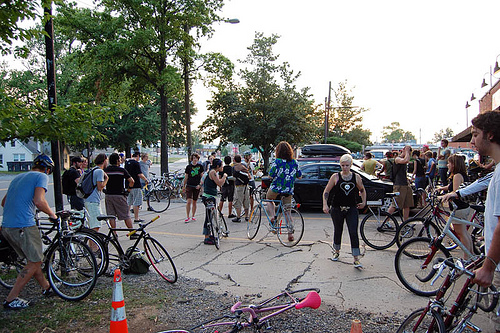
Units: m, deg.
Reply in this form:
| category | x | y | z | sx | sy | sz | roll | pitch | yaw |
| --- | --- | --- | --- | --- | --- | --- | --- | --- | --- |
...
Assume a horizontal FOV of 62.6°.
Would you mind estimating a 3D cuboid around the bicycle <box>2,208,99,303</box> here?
| category | x | y | z | sx | sy | sz | roll | pitch | yaw |
| --- | --- | --- | --- | --- | --- | --- | --- | --- | --- |
| bicycle | -4.160 | 1.796 | 7.868 | 2.499 | 1.561 | 1.237 | 0 | -2 | 23 |

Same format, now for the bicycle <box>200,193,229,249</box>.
| category | x | y | z | sx | sy | sz | roll | pitch | yaw |
| --- | --- | --- | --- | --- | --- | --- | --- | --- | --- |
| bicycle | -0.856 | 1.381 | 10.712 | 0.514 | 1.374 | 1.305 | 0 | 13 | 4 |

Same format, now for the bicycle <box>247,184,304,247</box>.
| category | x | y | z | sx | sy | sz | roll | pitch | yaw |
| --- | --- | --- | --- | --- | --- | --- | --- | --- | --- |
| bicycle | 0.758 | 1.329 | 11.129 | 0.883 | 1.239 | 1.898 | 2 | 3 | -40 |

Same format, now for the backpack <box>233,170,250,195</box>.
| category | x | y | z | sx | sy | sz | roll | pitch | yaw |
| --- | --- | --- | --- | --- | --- | --- | --- | --- | --- |
| backpack | -0.264 | 0.387 | 13.210 | 0.493 | 0.476 | 0.365 | 16 | 4 | -3 |

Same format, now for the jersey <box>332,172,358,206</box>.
| category | x | y | z | sx | sy | sz | roll | pitch | yaw |
| --- | --- | --- | --- | --- | --- | --- | --- | --- | --- |
| jersey | 2.164 | 0.539 | 9.193 | 0.645 | 0.851 | 0.464 | 4 | -12 | 4 |

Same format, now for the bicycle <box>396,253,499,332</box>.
| category | x | y | z | sx | sy | sz | roll | pitch | yaw |
| --- | --- | --- | --- | --- | --- | --- | --- | --- | --- |
| bicycle | 2.815 | 1.851 | 5.784 | 1.465 | 0.895 | 0.890 | 15 | -3 | -28 |

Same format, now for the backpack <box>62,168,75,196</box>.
| category | x | y | z | sx | sy | sz | roll | pitch | yaw |
| --- | --- | --- | --- | --- | --- | --- | --- | --- | --- |
| backpack | -4.790 | 0.403 | 10.839 | 0.332 | 0.707 | 0.386 | -7 | 15 | -23 |

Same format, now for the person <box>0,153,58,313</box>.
| category | x | y | z | sx | sy | sz | roll | pitch | yaw |
| --- | --- | --- | --- | --- | --- | --- | --- | --- | --- |
| person | -4.131 | 1.157 | 7.682 | 1.074 | 2.623 | 1.201 | -8 | 15 | -25 |

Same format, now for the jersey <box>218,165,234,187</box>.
| category | x | y | z | sx | sy | sz | roll | pitch | yaw |
| --- | --- | --- | --- | --- | --- | --- | --- | --- | --- |
| jersey | -0.799 | 0.313 | 13.821 | 0.476 | 0.690 | 0.525 | -2 | 13 | -5 |

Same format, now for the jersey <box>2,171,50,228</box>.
| category | x | y | z | sx | sy | sz | roll | pitch | yaw |
| --- | --- | --- | --- | --- | --- | --- | --- | --- | --- |
| jersey | -4.184 | 0.625 | 7.616 | 0.838 | 1.032 | 0.536 | -8 | 15 | -26 |

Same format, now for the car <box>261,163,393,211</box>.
| category | x | y | z | sx | sy | sz | roll | pitch | yaw |
| --- | --- | --- | --- | --- | --- | --- | --- | --- | --- |
| car | 2.678 | 0.610 | 14.215 | 3.958 | 1.341 | 1.844 | -3 | -2 | 8 |

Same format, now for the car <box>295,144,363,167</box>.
| category | x | y | z | sx | sy | sz | roll | pitch | yaw |
| --- | --- | --- | --- | --- | --- | --- | --- | --- | --- |
| car | 2.972 | -0.383 | 17.508 | 2.261 | 0.800 | 2.703 | 1 | 9 | -5 |

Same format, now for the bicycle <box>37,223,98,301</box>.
| category | x | y | z | sx | sy | sz | roll | pitch | yaw |
| --- | --- | --- | --- | --- | --- | --- | --- | --- | --- |
| bicycle | -3.437 | 1.789 | 7.765 | 1.136 | 1.315 | 0.508 | 7 | 16 | 31 |

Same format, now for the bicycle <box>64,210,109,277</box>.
| category | x | y | z | sx | sy | sz | roll | pitch | yaw |
| --- | --- | --- | --- | --- | --- | --- | --- | --- | --- |
| bicycle | -3.450 | 1.483 | 8.415 | 0.694 | 1.019 | 1.671 | 18 | -4 | -32 |

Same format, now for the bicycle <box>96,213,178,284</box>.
| category | x | y | z | sx | sy | sz | roll | pitch | yaw |
| --- | --- | --- | --- | --- | --- | --- | --- | --- | --- |
| bicycle | -2.548 | 1.682 | 8.658 | 2.376 | 1.413 | 0.686 | 5 | 16 | 16 |

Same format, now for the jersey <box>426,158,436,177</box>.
| category | x | y | z | sx | sy | sz | roll | pitch | yaw |
| --- | --- | --- | --- | --- | --- | --- | --- | --- | --- |
| jersey | 7.256 | 0.059 | 16.460 | 0.310 | 0.822 | 0.857 | 5 | 14 | 23 |

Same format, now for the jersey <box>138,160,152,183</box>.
| category | x | y | z | sx | sy | sz | roll | pitch | yaw |
| --- | --- | --- | --- | --- | --- | --- | --- | --- | --- |
| jersey | -4.123 | 0.175 | 15.992 | 0.427 | 1.435 | 0.385 | -5 | 34 | -9 |

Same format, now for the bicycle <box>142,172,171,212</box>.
| category | x | y | z | sx | sy | sz | roll | pitch | yaw |
| --- | --- | --- | --- | --- | --- | --- | --- | --- | --- |
| bicycle | -3.869 | 1.257 | 16.557 | 0.867 | 1.105 | 1.733 | 3 | -6 | -40 |

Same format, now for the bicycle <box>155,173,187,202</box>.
| category | x | y | z | sx | sy | sz | roll | pitch | yaw |
| --- | --- | --- | --- | --- | --- | --- | --- | --- | --- |
| bicycle | -3.485 | 0.900 | 18.324 | 1.867 | 1.116 | 0.936 | 11 | 4 | 25 |

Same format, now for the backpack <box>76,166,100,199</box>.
| category | x | y | z | sx | sy | sz | roll | pitch | yaw |
| --- | --- | --- | --- | --- | --- | --- | --- | --- | --- |
| backpack | -3.893 | 0.367 | 9.822 | 0.452 | 0.786 | 0.564 | 20 | 3 | -25 |

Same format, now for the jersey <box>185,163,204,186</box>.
| category | x | y | z | sx | sy | sz | roll | pitch | yaw |
| --- | --- | --- | --- | --- | --- | --- | --- | --- | --- |
| jersey | -1.821 | 0.242 | 13.283 | 0.525 | 0.649 | 0.629 | -3 | 13 | -7 |

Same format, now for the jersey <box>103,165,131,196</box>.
| category | x | y | z | sx | sy | sz | roll | pitch | yaw |
| --- | --- | --- | --- | --- | --- | --- | --- | --- | --- |
| jersey | -3.467 | 0.357 | 10.613 | 0.945 | 0.817 | 0.338 | 1 | -2 | -17 |

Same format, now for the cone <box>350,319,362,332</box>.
| category | x | y | z | sx | sy | sz | roll | pitch | yaw |
| --- | --- | --- | --- | --- | --- | --- | --- | --- | --- |
| cone | 1.583 | 2.338 | 6.154 | 0.164 | 0.272 | 0.172 | -1 | 1 | 24 |

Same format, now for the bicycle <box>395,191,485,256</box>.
| category | x | y | z | sx | sy | sz | roll | pitch | yaw |
| --- | --- | --- | --- | --- | --- | --- | --- | --- | --- |
| bicycle | 3.853 | 1.307 | 8.755 | 2.194 | 1.367 | 1.163 | 4 | -1 | 19 |
